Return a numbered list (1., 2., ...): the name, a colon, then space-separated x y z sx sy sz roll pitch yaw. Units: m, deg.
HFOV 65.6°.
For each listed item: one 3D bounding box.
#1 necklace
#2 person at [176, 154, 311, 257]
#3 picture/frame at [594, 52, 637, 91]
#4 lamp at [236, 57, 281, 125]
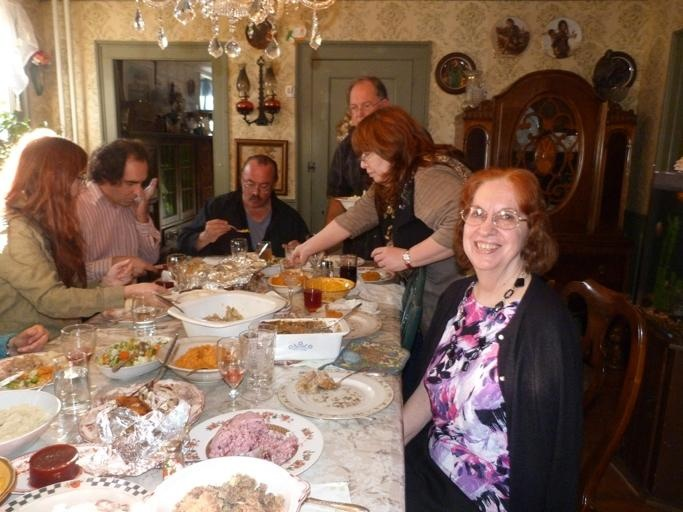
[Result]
1. necklace: 0.500 0.258 1.935 0.261 0.333 0.200 12 8 19
2. person: -0.756 -0.438 4.378 0.964 1.165 0.711 4 13 -18
3. picture/frame: 2.546 -1.673 4.861 0.449 0.373 0.143 -1 14 -8
4. lamp: -0.806 -1.591 5.153 0.425 0.646 0.239 0 14 -3
